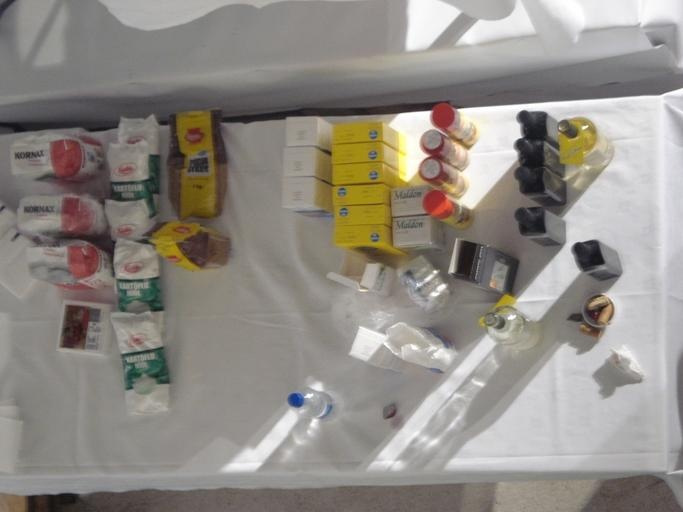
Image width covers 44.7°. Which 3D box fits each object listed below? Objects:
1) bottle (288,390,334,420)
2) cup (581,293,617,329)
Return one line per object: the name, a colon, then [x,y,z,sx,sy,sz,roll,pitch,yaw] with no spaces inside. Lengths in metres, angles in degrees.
bottle: [-0.104,0.536,2.992,0.092,0.094,0.224,-8,-3,22]
cup: [0.886,0.189,2.852,0.121,0.100,0.089,-25,46,-27]
